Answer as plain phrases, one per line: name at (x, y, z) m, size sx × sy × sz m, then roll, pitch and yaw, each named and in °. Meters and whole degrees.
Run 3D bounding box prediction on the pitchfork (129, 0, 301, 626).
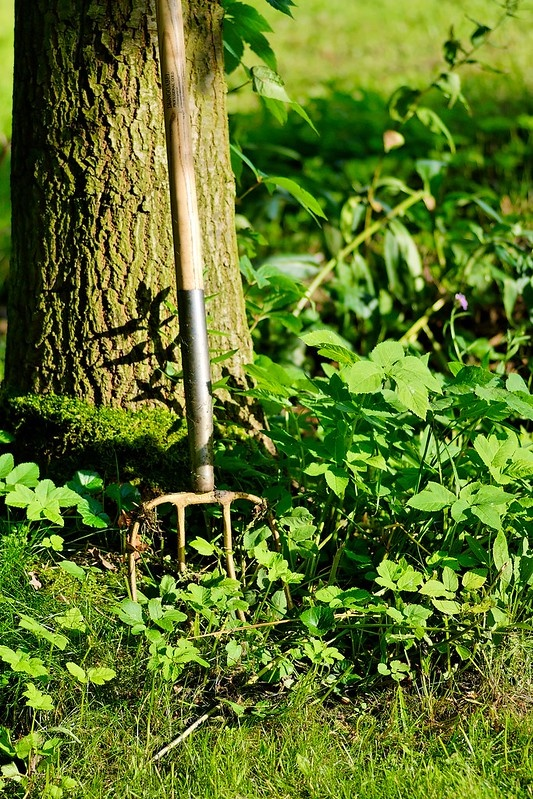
pitchfork at (-0.123, -0.202, 1.974) m, size 0.316 × 1.335 × 0.390 m, roll 1°, pitch 7°, yaw -4°
